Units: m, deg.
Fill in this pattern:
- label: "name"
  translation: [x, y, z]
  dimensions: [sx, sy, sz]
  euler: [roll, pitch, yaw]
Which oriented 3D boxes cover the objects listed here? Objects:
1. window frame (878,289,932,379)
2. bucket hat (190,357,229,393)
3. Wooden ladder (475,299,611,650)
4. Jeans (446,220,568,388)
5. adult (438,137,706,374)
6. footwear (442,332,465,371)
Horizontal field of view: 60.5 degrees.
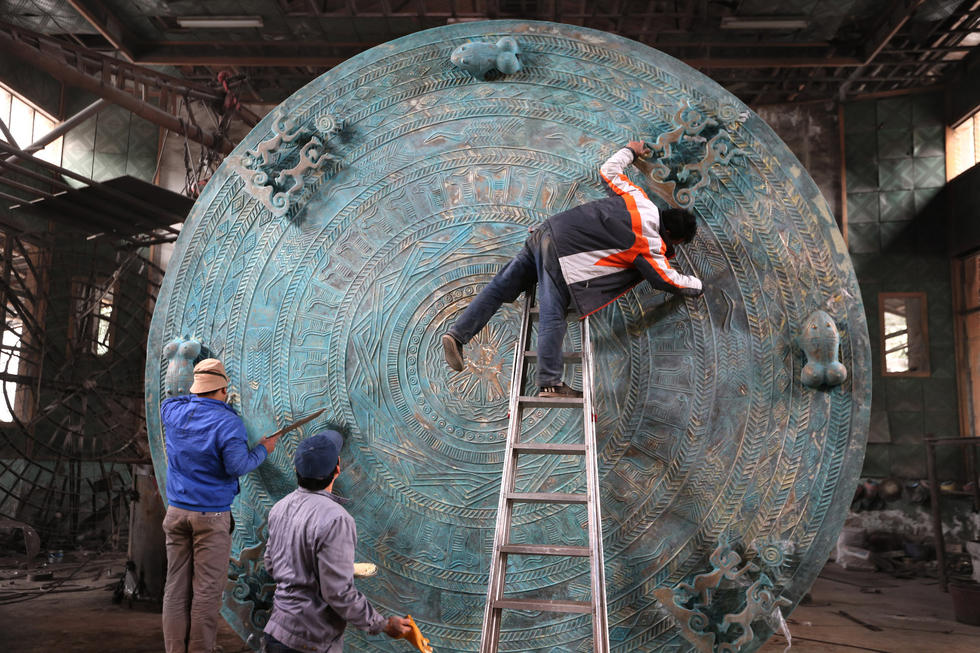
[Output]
- label: "window frame"
  translation: [9.935, 0.164, 20.414]
  dimensions: [0.994, 1.986, 0.467]
  euler: [0, -15, 3]
- label: "bucket hat"
  translation: [-3.271, 0.577, 9.948]
  dimensions: [0.308, 0.284, 0.458]
  euler: [-3, -15, -3]
- label: "Wooden ladder"
  translation: [0.603, 1.544, 9.200]
  dimensions: [1.234, 3.798, 0.991]
  euler: [-1, -16, 6]
- label: "Jeans"
  translation: [0.420, -0.284, 9.523]
  dimensions: [0.711, 1.833, 1.285]
  euler: [19, -22, -18]
- label: "adult"
  translation: [0.891, -0.613, 9.440]
  dimensions: [2.858, 1.878, 0.897]
  euler: [-28, -23, 4]
- label: "footwear"
  translation: [-0.407, 0.287, 9.454]
  dimensions: [0.185, 0.460, 0.183]
  euler: [-10, 4, 29]
